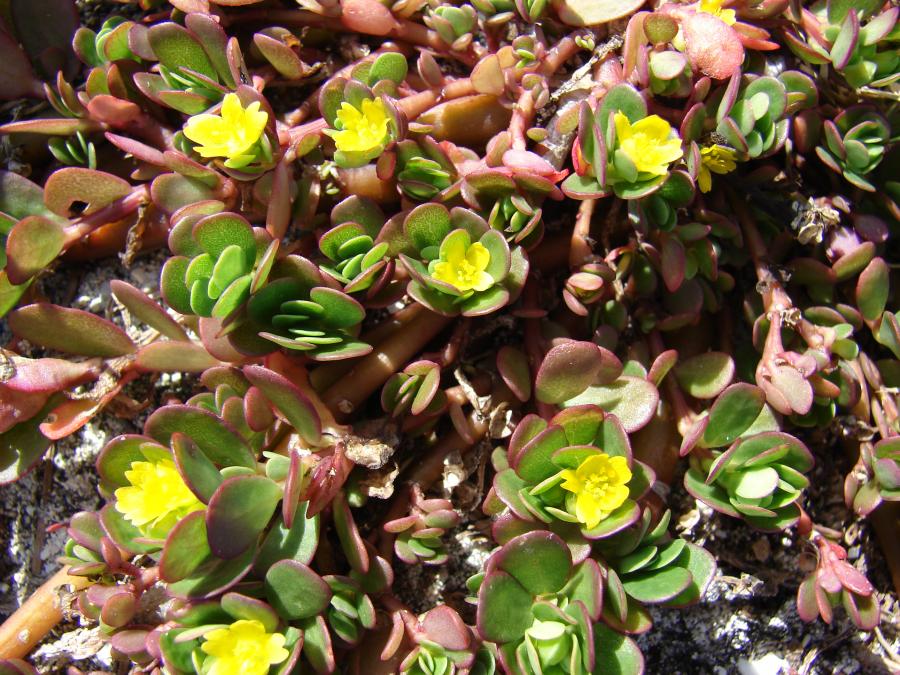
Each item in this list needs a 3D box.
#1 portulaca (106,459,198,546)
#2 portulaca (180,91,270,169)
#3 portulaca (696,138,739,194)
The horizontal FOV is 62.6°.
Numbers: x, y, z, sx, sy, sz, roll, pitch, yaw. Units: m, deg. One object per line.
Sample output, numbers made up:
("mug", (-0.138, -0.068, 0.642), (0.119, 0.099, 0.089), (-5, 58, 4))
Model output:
("portulaca", (-0.482, 0.256, 1.198), (0.106, 0.060, 0.122), (-33, 60, -28))
("portulaca", (-0.373, -0.347, 1.262), (0.137, 0.060, 0.128), (-4, 72, 10))
("portulaca", (0.481, -0.313, 1.347), (0.071, 0.086, 0.055), (17, 50, 10))
